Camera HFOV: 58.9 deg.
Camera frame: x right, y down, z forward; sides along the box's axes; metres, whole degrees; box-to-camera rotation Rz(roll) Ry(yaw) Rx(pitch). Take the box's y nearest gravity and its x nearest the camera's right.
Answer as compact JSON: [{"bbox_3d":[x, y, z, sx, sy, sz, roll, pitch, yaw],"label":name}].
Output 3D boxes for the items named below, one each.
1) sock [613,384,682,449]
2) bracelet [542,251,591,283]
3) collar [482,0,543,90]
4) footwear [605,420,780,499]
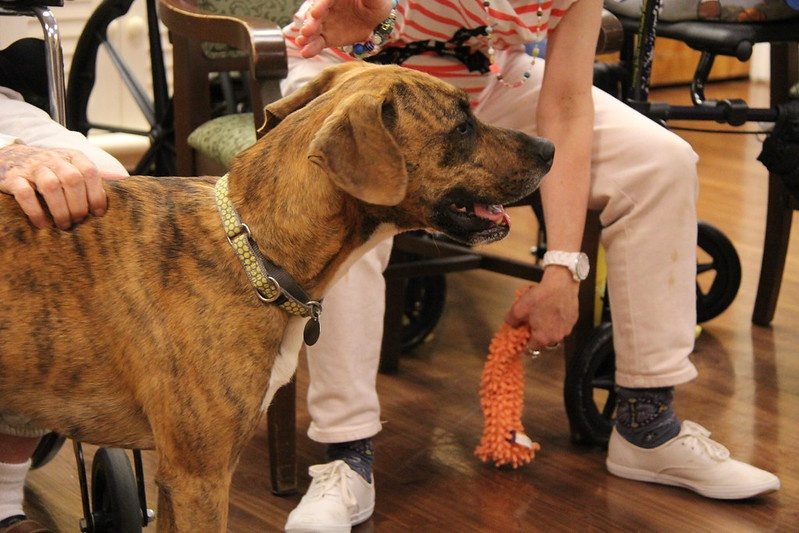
[{"bbox_3d":[0.722,0.449,2.075,0.215,0.221,0.137,-2,0,23],"label":"sock"},{"bbox_3d":[0.450,-0.006,1.940,0.114,0.123,0.069,0,24,28],"label":"bracelet"},{"bbox_3d":[0.317,-0.628,2.018,0.166,0.335,0.045,17,51,24],"label":"collar"},{"bbox_3d":[0.821,0.519,2.122,0.513,0.221,0.190,4,8,16],"label":"footwear"}]
